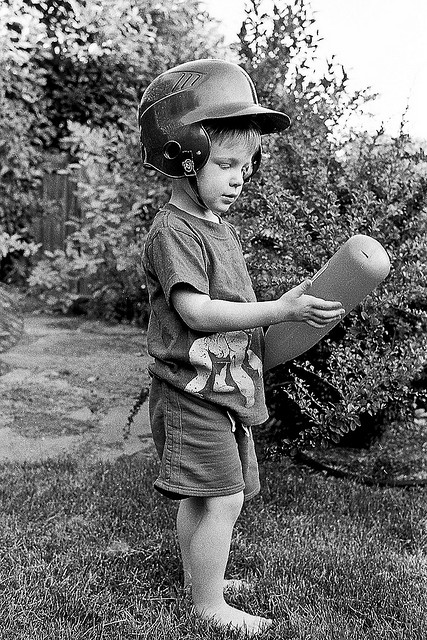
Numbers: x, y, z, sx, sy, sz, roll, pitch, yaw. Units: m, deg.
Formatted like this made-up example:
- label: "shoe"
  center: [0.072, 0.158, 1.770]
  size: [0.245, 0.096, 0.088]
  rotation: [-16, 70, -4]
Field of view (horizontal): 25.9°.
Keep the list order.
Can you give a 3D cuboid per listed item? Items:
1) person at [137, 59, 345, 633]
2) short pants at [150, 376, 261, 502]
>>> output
- label: "person"
  center: [0.012, 0.069, 2.498]
  size: [0.557, 1.146, 0.552]
  rotation: [7, 4, -11]
- label: "short pants"
  center: [-0.051, 0.293, 2.726]
  size: [0.292, 0.547, 0.404]
  rotation: [0, -1, -8]
